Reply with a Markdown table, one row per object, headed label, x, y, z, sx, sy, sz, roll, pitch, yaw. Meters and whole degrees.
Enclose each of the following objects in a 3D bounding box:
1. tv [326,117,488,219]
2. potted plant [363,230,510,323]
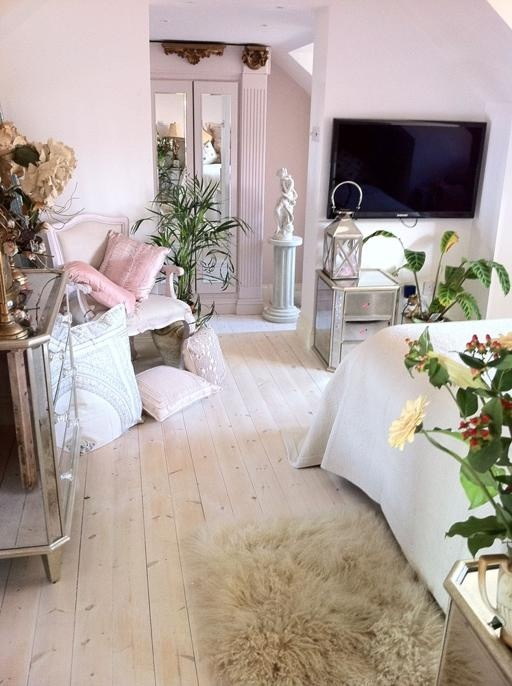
| label | x | y | z | sx | sy | sz | roll | pitch | yaw |
| --- | --- | --- | --- | --- | --- | --- | --- | --- | --- |
| tv | 1.145 | -1.277 | 3.622 | 1.196 | 0.699 | 0.067 | 0 | 20 | -9 |
| potted plant | 1.363 | -0.486 | 3.542 | 0.847 | 0.605 | 0.837 | 13 | 39 | 26 |
